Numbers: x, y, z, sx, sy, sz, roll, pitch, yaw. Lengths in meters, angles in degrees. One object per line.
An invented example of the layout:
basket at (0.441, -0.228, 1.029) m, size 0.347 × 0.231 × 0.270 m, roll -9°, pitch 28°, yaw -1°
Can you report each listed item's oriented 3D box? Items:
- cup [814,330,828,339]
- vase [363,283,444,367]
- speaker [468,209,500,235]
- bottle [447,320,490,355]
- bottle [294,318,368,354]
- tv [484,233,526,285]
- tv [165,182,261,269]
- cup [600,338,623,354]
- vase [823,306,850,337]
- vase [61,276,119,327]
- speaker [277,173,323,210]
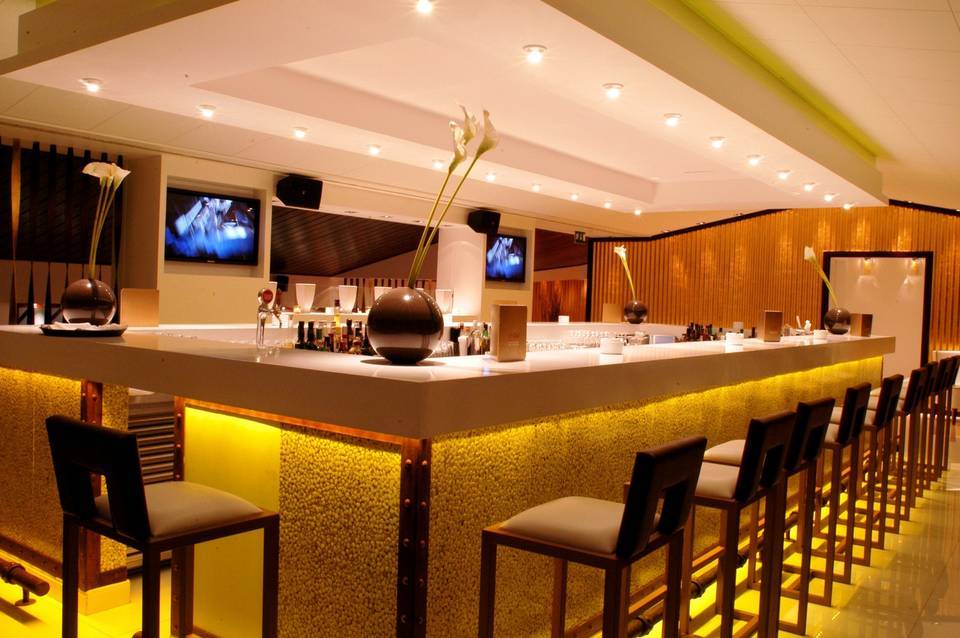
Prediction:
cup at (3.431, 0.160, 6.781) m, size 0.106 × 0.069 × 0.105 m, roll -1°, pitch 11°, yaw 0°
vase at (-0.411, 0.033, 3.576) m, size 0.358 × 0.390 × 0.375 m, roll 0°, pitch 2°, yaw 33°
speaker at (0.075, -1.640, 10.622) m, size 0.316 × 0.446 × 0.601 m, roll 10°, pitch 12°, yaw 42°
bottle at (-0.105, 0.135, 5.028) m, size 0.259 × 0.228 × 0.397 m, roll 6°, pitch 0°, yaw 45°
bottle at (-1.047, 0.140, 4.860) m, size 0.395 × 0.204 × 0.593 m, roll 4°, pitch 3°, yaw 13°
tv at (0.407, -1.030, 11.587) m, size 0.939 × 0.830 × 0.083 m, roll -1°, pitch 5°, yaw -44°
tv at (-3.225, -1.146, 8.024) m, size 1.023 × 0.763 × 0.138 m, roll 0°, pitch 4°, yaw -44°
cup at (0.862, 0.175, 4.379) m, size 0.110 × 0.079 × 0.116 m, roll 0°, pitch 6°, yaw 0°
vase at (3.882, 0.017, 7.346) m, size 0.269 × 0.274 × 0.264 m, roll -6°, pitch 13°, yaw -42°
vase at (-2.617, -0.080, 4.530) m, size 0.303 × 0.369 × 0.313 m, roll 3°, pitch 3°, yaw -18°
speaker at (-2.247, -1.596, 8.346) m, size 0.607 × 0.480 × 0.347 m, roll 1°, pitch 12°, yaw -39°
